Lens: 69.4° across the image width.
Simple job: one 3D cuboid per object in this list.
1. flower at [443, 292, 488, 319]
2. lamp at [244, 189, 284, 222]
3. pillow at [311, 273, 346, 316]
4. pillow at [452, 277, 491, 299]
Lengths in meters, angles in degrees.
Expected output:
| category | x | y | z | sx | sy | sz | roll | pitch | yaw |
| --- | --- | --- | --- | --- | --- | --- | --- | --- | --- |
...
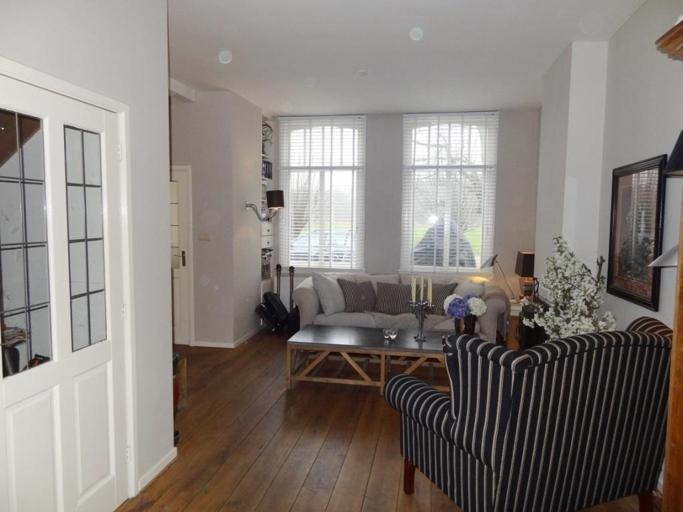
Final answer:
| category | x | y | z | sx | sy | sz | roll | pitch | yaw |
| --- | --- | --- | --- | --- | --- | --- | --- | --- | --- |
| flower | 1.176 | 0.487 | 4.816 | 0.311 | 0.177 | 0.257 | -5 | -3 | 38 |
| lamp | -0.969 | -0.670 | 6.715 | 0.630 | 0.485 | 0.274 | -6 | -5 | 35 |
| pillow | -0.157 | 0.442 | 5.961 | 0.434 | 0.438 | 0.135 | 7 | -24 | -36 |
| pillow | 1.567 | 0.376 | 5.912 | 0.277 | 0.098 | 0.307 | -10 | 14 | 13 |
